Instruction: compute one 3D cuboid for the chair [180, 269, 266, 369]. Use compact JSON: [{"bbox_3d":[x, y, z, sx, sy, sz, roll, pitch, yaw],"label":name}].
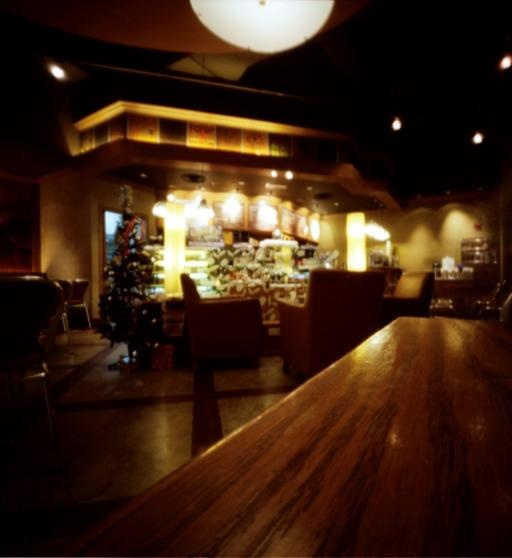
[{"bbox_3d":[-0.287,0.235,3.557,0.547,0.860,0.616,-1,1,-10],"label":"chair"}]
